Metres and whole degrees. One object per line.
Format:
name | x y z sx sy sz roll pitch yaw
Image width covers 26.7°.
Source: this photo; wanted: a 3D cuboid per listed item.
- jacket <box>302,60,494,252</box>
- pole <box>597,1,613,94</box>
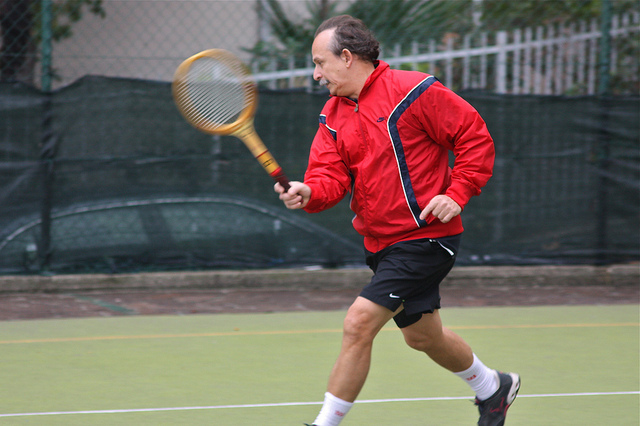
jacket | 0.694 -0.501 11.984 1.647 1.712 0.443 3 4 2
pole | 3.235 -1.897 15.379 0.149 1.017 0.114 4 5 9
